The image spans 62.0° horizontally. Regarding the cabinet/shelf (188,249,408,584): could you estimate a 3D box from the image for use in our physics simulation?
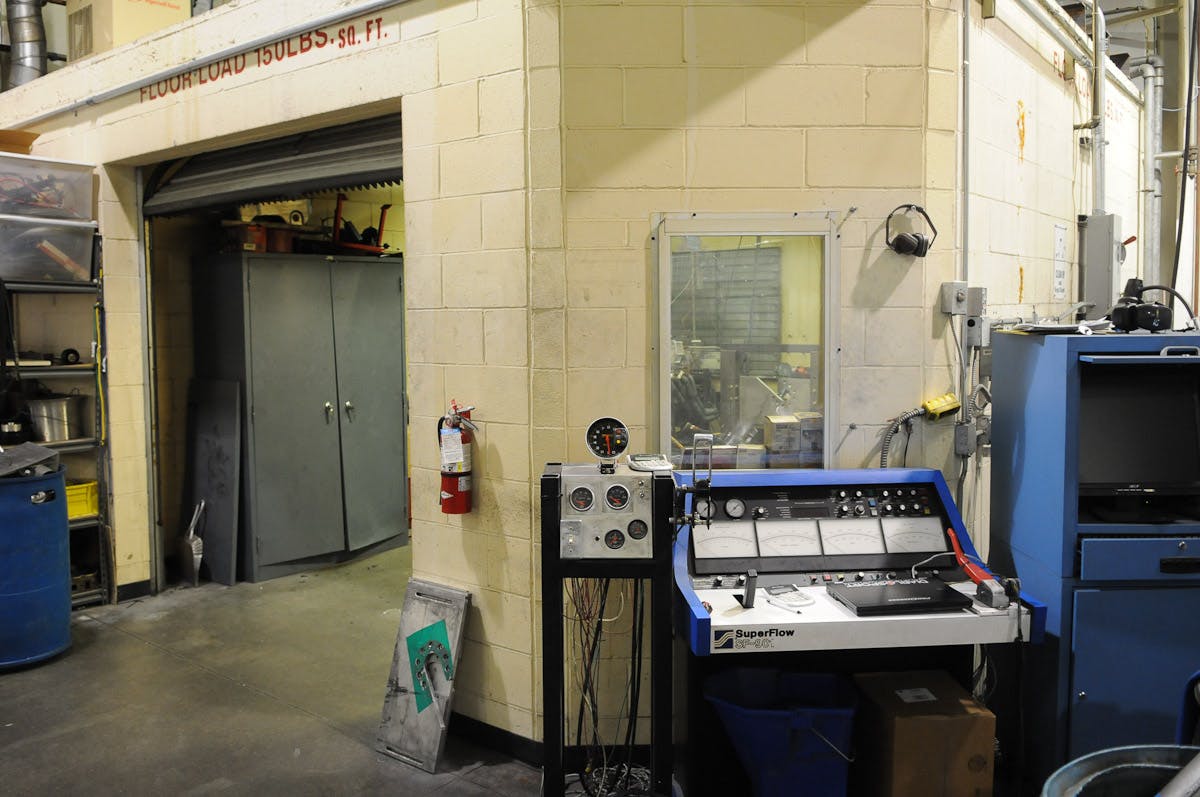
[{"bbox_3d":[-2.115,0.048,7.338,1.428,2.271,0.619,-11,18,-35],"label":"cabinet/shelf"}]

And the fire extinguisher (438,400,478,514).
[{"bbox_3d":[-0.753,0.323,5.161,0.233,0.585,0.187,8,17,29],"label":"fire extinguisher"}]

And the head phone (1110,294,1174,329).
[{"bbox_3d":[2.586,-0.419,4.791,0.213,0.121,0.163,0,3,-2],"label":"head phone"}]

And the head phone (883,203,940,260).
[{"bbox_3d":[1.527,-0.829,4.898,0.217,0.282,0.112,-21,7,-6],"label":"head phone"}]
